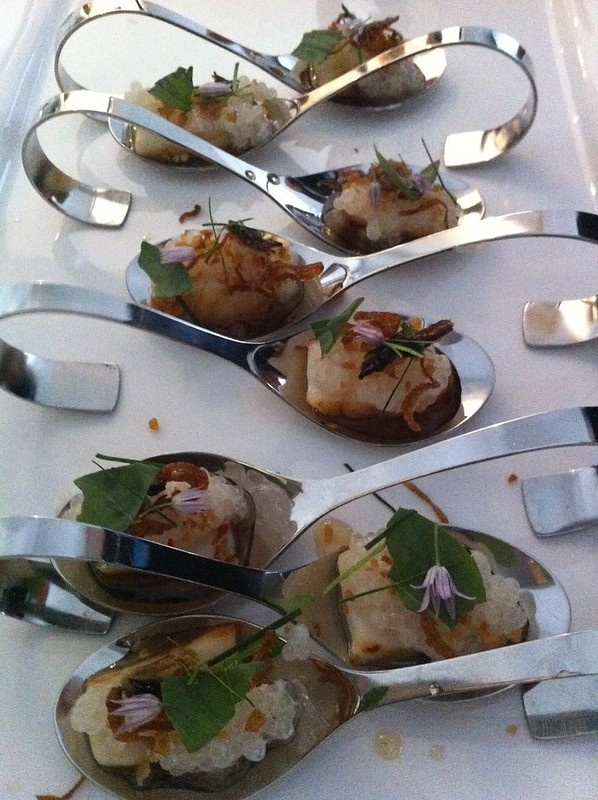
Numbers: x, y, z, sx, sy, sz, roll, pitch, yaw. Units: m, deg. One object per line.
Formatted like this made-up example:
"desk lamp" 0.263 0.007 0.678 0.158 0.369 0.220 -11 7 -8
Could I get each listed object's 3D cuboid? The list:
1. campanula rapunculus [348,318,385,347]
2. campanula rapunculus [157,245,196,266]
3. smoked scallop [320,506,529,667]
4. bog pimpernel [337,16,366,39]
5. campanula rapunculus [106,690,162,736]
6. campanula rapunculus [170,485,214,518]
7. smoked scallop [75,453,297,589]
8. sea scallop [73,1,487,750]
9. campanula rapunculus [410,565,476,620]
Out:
"campanula rapunculus" 0.072 -0.071 0.877 0.037 0.010 0.022 26 64 23
"campanula rapunculus" -0.141 -0.167 0.952 0.038 0.015 0.022 -5 79 0
"smoked scallop" 0.098 0.157 0.836 0.210 0.140 0.211 1 29 0
"bog pimpernel" 0.077 -0.538 1.193 0.040 0.020 0.049 0 52 7
"campanula rapunculus" -0.136 0.255 0.687 0.041 0.018 0.033 -19 49 -21
"campanula rapunculus" -0.099 0.093 0.763 0.032 0.009 0.022 19 37 4
"smoked scallop" -0.117 0.115 0.830 0.171 0.068 0.117 12 41 5
"sea scallop" 0.029 0.065 0.852 0.508 0.137 0.510 -1 63 5
"campanula rapunculus" 0.129 0.165 0.770 0.059 0.044 0.045 -7 26 -21
